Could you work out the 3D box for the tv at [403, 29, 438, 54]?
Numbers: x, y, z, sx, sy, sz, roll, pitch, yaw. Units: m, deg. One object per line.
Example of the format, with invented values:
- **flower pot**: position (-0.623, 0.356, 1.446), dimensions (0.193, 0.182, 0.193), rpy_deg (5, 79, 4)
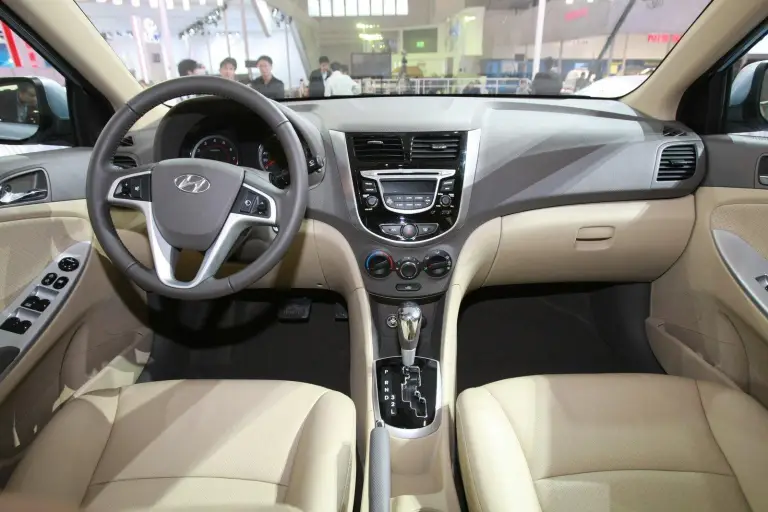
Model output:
- **tv**: position (0.151, -0.885, 2.033), dimensions (0.146, 0.087, 0.060), rpy_deg (-2, 28, 5)
